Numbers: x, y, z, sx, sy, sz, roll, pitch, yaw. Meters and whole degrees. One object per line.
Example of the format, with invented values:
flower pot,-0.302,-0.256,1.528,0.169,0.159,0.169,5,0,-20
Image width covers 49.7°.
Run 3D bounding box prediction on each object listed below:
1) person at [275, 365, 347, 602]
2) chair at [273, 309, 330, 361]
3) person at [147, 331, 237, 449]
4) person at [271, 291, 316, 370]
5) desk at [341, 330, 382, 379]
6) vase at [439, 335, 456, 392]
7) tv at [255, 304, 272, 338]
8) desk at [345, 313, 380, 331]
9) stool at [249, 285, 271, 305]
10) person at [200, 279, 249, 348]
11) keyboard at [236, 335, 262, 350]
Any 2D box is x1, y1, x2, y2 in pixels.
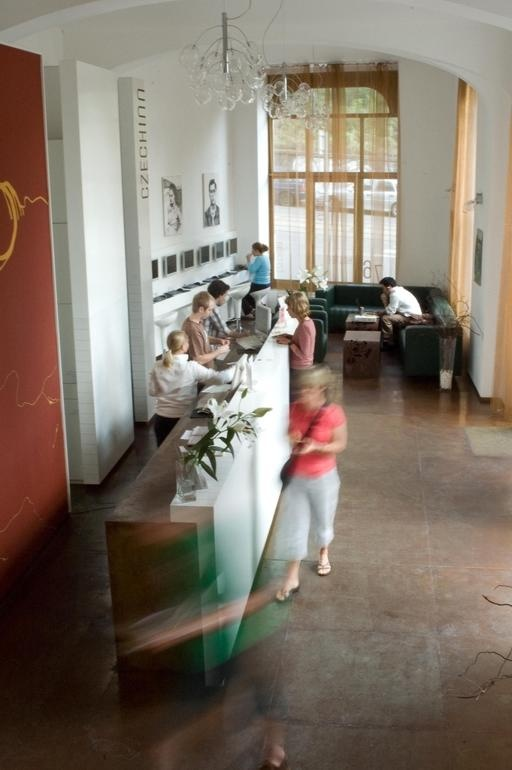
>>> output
person,0.383,0.640,3.778,0.503,1.464,1.067,-1,5,3
chair,0.795,-0.815,10.188,0.973,1.042,1.000,-7,6,-2
person,-0.644,0.268,5.482,0.808,1.634,0.641,-2,16,-21
person,0.482,-0.666,6.875,0.470,1.010,0.516,-1,5,2
desk,1.814,-0.531,9.698,0.679,0.743,0.674,1,6,0
vase,3.024,-0.363,8.745,0.210,0.867,0.618,0,5,19
tv,0.097,-0.860,7.493,0.173,0.487,0.460,-3,15,-14
desk,2.090,-1.222,10.712,0.682,0.307,0.638,-1,6,-1
stool,0.075,-2.034,12.315,0.399,0.376,0.705,-1,6,-1
person,-0.441,-0.933,6.950,0.489,0.771,0.513,-5,12,-32
keyboard,-0.073,-0.533,7.100,0.233,0.069,0.285,-5,26,-14
